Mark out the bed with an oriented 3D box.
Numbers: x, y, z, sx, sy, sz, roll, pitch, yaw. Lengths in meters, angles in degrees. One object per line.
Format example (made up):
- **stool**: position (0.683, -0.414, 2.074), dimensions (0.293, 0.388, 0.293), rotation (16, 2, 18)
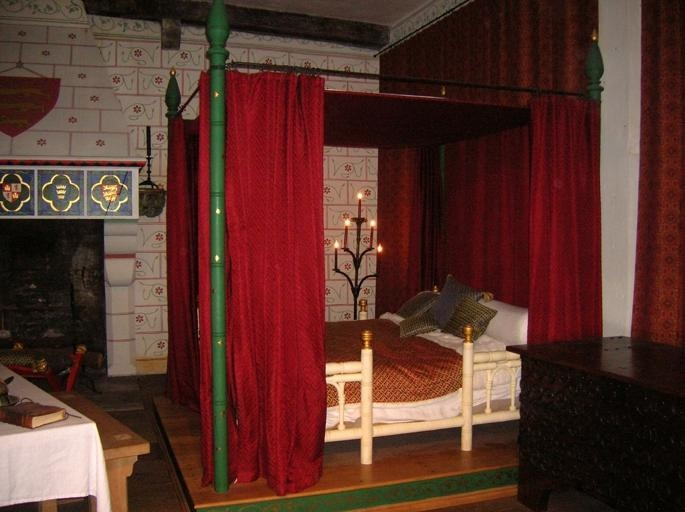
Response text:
- **bed**: position (0.618, 1.027, 5.127), dimensions (1.356, 0.621, 0.980), rotation (0, 3, -12)
